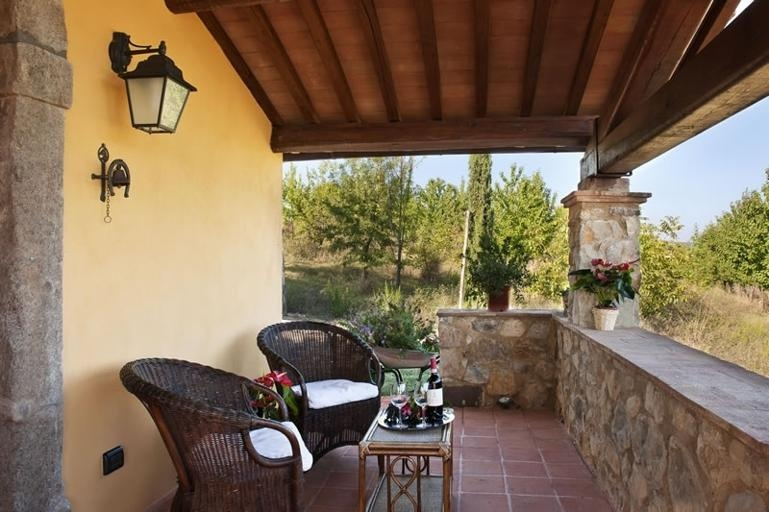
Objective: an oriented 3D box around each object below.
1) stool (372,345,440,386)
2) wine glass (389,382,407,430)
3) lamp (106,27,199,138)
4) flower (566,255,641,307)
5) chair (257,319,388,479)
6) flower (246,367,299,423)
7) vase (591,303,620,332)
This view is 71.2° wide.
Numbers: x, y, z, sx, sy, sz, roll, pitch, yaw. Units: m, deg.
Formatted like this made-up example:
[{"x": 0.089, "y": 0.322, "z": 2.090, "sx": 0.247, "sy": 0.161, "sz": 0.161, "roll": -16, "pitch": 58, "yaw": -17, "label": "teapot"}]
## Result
[{"x": 0.216, "y": 1.251, "z": 6.340, "sx": 0.880, "sy": 0.402, "sz": 0.466, "roll": 1, "pitch": -6, "yaw": -12, "label": "stool"}, {"x": 0.108, "y": 1.113, "z": 4.073, "sx": 0.155, "sy": 0.373, "sz": 0.153, "roll": -10, "pitch": 18, "yaw": -32, "label": "wine glass"}, {"x": -1.655, "y": -1.268, "z": 3.785, "sx": 0.475, "sy": 0.741, "sz": 0.483, "roll": 0, "pitch": -1, "yaw": 6, "label": "lamp"}, {"x": 1.994, "y": 0.291, "z": 4.953, "sx": 0.509, "sy": 0.413, "sz": 0.687, "roll": -10, "pitch": 18, "yaw": -6, "label": "flower"}, {"x": -0.548, "y": 1.249, "z": 4.832, "sx": 0.909, "sy": 1.172, "sz": 0.986, "roll": -1, "pitch": -1, "yaw": 39, "label": "chair"}, {"x": -0.869, "y": 1.085, "z": 4.260, "sx": 0.382, "sy": 0.378, "sz": 0.384, "roll": 6, "pitch": -11, "yaw": -30, "label": "flower"}, {"x": 1.977, "y": 0.561, "z": 4.827, "sx": 0.194, "sy": 0.187, "sz": 0.200, "roll": -1, "pitch": 0, "yaw": -18, "label": "vase"}]
